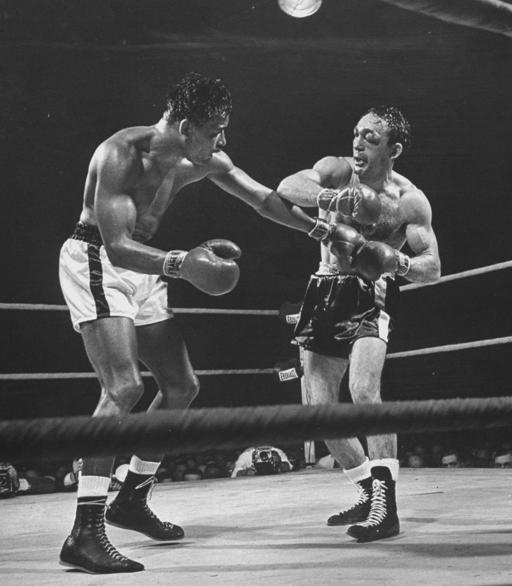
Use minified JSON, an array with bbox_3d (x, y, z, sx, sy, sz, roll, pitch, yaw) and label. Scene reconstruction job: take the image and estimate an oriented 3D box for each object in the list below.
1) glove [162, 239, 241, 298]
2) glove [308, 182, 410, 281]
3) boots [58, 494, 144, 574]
[{"bbox_3d":[-0.133,-0.084,2.376,0.258,0.096,0.164,-9,39,10],"label":"glove"},{"bbox_3d":[0.314,-0.161,2.757,0.313,0.141,0.285,28,49,-15],"label":"glove"},{"bbox_3d":[-0.389,0.625,2.267,0.282,0.181,0.105,-6,-14,40],"label":"boots"}]
